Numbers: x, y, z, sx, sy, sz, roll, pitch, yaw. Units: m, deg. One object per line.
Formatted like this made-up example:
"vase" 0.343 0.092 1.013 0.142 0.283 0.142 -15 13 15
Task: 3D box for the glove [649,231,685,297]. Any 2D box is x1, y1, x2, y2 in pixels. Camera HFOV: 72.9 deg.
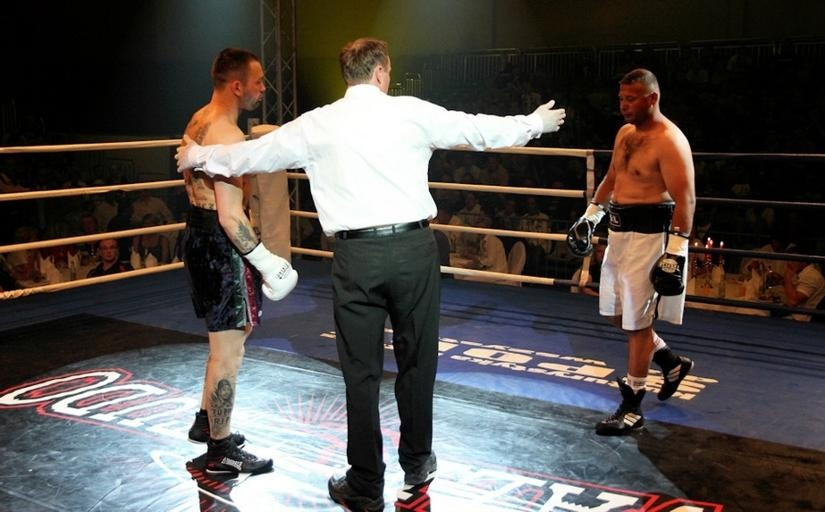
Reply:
"glove" 1.582 0.030 3.416 0.252 0.165 0.422 18 43 27

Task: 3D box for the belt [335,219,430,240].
"belt" -0.150 -0.130 2.787 0.464 0.120 0.118 2 14 -5

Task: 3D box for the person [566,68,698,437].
"person" 1.361 -0.059 3.546 0.697 2.160 0.778 -8 18 -38

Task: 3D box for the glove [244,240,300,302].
"glove" -0.783 0.076 3.054 0.325 0.233 0.116 43 -14 -4

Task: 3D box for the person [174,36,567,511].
"person" -0.203 0.097 2.865 1.424 2.305 0.643 6 14 12

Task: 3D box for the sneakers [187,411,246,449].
"sneakers" -1.210 1.050 3.384 0.112 0.185 0.329 -4 -21 29

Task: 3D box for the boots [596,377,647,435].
"boots" 1.290 0.935 3.481 0.373 0.327 0.157 -3 9 -21

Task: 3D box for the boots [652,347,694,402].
"boots" 1.761 0.818 3.795 0.253 0.347 0.125 30 36 4

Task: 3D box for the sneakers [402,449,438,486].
"sneakers" 0.044 1.127 3.012 0.092 0.107 0.249 1 6 25
